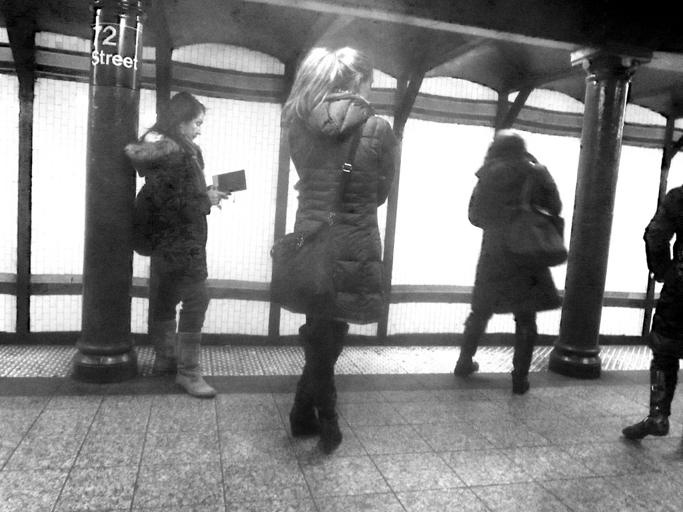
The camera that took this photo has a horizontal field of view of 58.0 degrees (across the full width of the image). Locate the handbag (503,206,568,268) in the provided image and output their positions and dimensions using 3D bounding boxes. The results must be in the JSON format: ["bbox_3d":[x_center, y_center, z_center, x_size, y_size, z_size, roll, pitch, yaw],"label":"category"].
[{"bbox_3d":[0.680,-0.067,2.161,0.221,0.210,0.086,3,17,12],"label":"handbag"}]

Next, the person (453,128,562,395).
[{"bbox_3d":[0.612,-0.032,2.178,0.360,0.778,0.110,6,12,8],"label":"person"}]

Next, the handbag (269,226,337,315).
[{"bbox_3d":[-0.147,0.061,2.361,0.323,0.309,0.118,-9,13,-31],"label":"handbag"}]

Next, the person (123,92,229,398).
[{"bbox_3d":[-0.712,-0.007,2.595,0.294,1.314,0.887,0,13,-21],"label":"person"}]

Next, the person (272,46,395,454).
[{"bbox_3d":[-0.043,-0.018,2.333,0.431,1.500,0.271,5,12,4],"label":"person"}]
